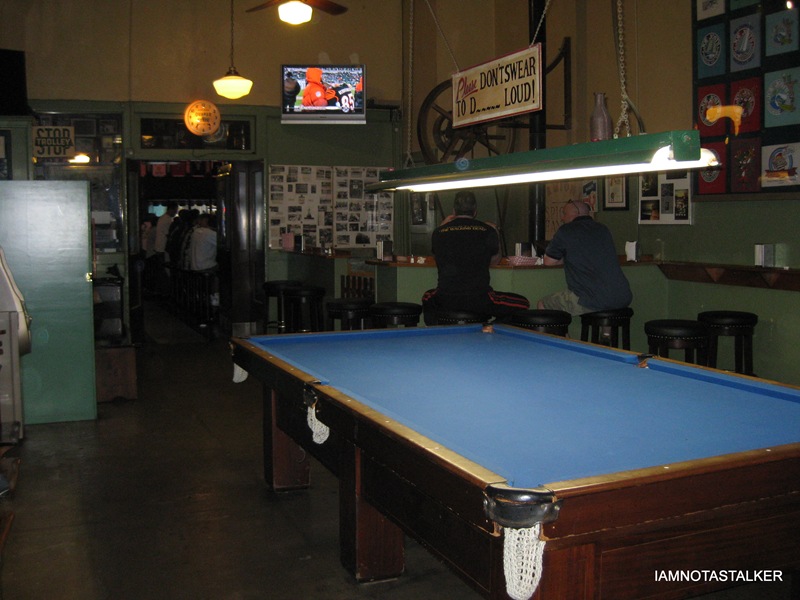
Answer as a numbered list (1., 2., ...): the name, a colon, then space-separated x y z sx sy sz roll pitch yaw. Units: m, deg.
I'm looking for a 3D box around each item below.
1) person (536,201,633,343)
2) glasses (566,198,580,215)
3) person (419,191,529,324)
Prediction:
1. person: 1.499 -0.301 5.666 0.692 1.009 0.812 2 -9 -19
2. glasses: 1.472 -0.775 5.620 0.097 0.119 0.114 -2 -31 -12
3. person: 0.597 -0.327 5.578 0.807 1.130 0.736 0 8 2
